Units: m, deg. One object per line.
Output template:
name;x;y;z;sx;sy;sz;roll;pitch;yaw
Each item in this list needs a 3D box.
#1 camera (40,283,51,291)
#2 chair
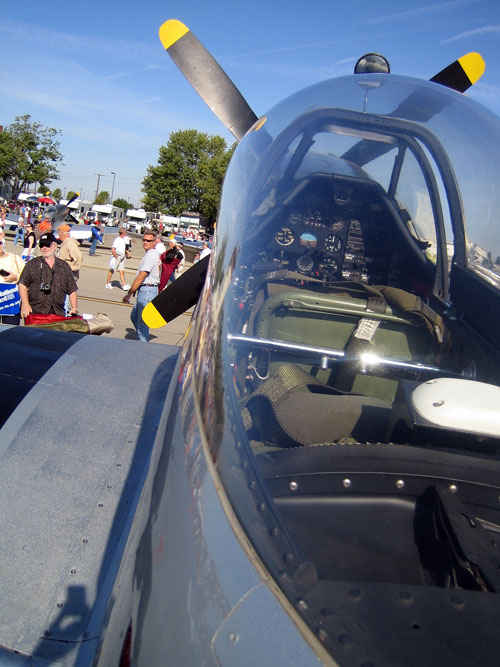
camera;-2.557;-0.575;5.896;0.075;0.132;0.129;3;3;24
chair;0.288;0.054;1.412;0.454;0.355;0.176;11;-28;0
